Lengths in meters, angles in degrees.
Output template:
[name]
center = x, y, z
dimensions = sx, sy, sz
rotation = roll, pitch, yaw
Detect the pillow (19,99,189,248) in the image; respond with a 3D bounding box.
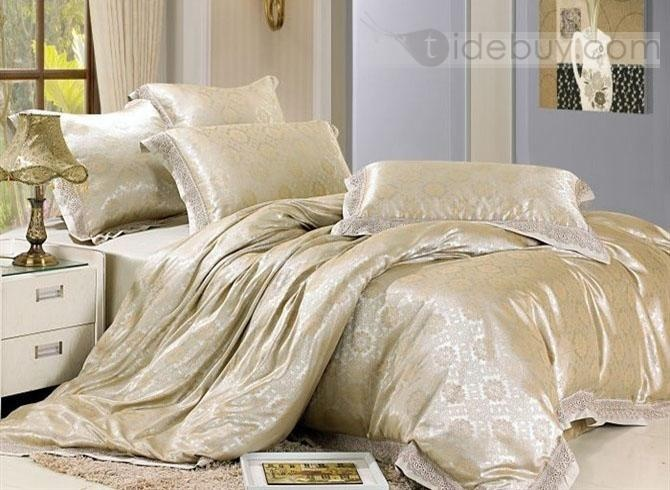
[pillow]
center = -1.179, -0.326, 3.460
dimensions = 0.194, 0.711, 0.644
rotation = -24, -9, 40
